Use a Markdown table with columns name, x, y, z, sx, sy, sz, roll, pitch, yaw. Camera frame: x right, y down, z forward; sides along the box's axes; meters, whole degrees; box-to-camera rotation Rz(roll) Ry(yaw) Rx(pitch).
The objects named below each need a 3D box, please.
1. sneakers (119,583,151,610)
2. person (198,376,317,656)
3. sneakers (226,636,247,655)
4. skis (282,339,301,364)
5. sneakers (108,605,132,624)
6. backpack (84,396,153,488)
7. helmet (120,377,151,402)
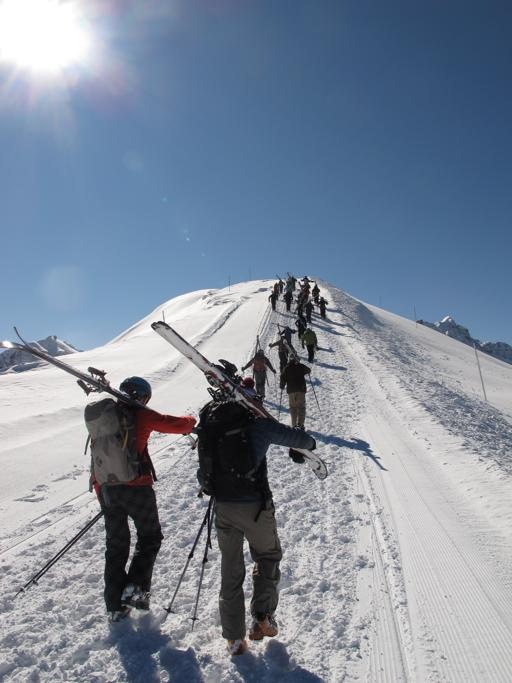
| name | x | y | z | sx | sy | sz | roll | pitch | yaw |
| --- | --- | --- | --- | --- | --- | --- | --- | --- | --- |
| sneakers | -1.130 | 2.383 | 4.858 | 0.256 | 0.234 | 0.155 | -2 | 9 | -16 |
| person | -0.064 | 1.679 | 4.728 | 0.969 | 2.180 | 0.654 | 1 | 9 | 0 |
| sneakers | -0.165 | 2.700 | 4.586 | 0.117 | 0.189 | 0.190 | 3 | -19 | -27 |
| skis | 1.007 | 0.273 | 14.613 | 0.233 | 0.248 | 1.519 | 42 | -2 | -10 |
| sneakers | -1.322 | 2.598 | 4.998 | 0.222 | 0.143 | 0.066 | -31 | 13 | -19 |
| backpack | -1.321 | 0.955 | 4.920 | 0.591 | 0.796 | 0.314 | 1 | 9 | 4 |
| helmet | -1.200 | 0.488 | 5.330 | 0.223 | 0.258 | 0.299 | 6 | 4 | 9 |
